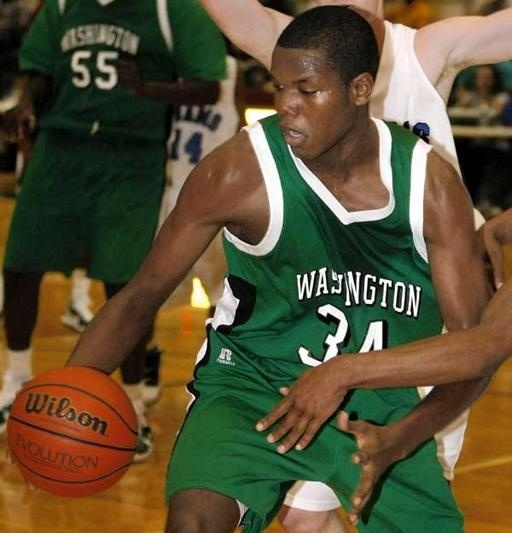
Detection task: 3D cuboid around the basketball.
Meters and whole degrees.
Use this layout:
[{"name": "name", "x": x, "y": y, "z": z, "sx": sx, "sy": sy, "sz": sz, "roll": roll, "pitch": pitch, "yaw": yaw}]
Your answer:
[{"name": "basketball", "x": -0.332, "y": 0.295, "z": 1.331, "sx": 0.242, "sy": 0.250, "sz": 0.241, "roll": 7, "pitch": -3, "yaw": 4}]
